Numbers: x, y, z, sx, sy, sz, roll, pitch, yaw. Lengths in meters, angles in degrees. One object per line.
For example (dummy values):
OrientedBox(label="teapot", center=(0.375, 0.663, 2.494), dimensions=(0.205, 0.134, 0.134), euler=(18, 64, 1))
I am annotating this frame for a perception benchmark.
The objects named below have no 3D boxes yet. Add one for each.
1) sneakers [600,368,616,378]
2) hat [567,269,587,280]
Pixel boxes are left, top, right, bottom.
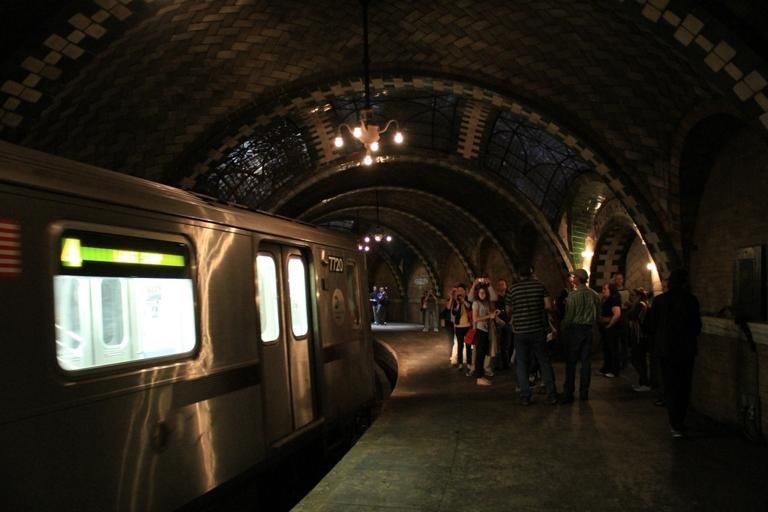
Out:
OrientedBox(label="sneakers", center=(4.628, 2.434, 10.851), dimensions=(0.099, 0.124, 0.285), euler=(-1, -6, -28))
OrientedBox(label="hat", center=(3.151, 0.284, 8.538), dimensions=(0.253, 0.174, 0.343), euler=(3, 0, -43))
